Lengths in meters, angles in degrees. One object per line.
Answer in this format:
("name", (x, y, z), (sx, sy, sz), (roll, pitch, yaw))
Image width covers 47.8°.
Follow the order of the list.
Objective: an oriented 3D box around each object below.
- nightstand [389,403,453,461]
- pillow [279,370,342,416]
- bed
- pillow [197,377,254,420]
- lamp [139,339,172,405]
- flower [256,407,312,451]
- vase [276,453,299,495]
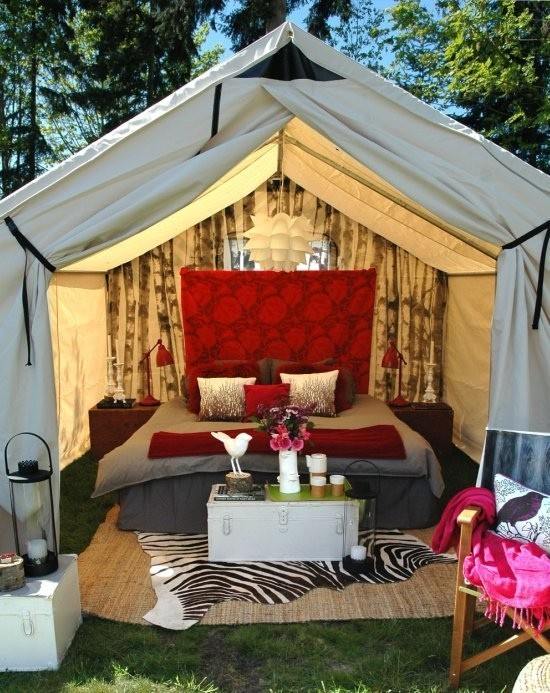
("nightstand", (1.256, 0.673, 5.467), (0.594, 0.410, 0.551), (4, 11, 17))
("pillow", (0.285, 0.345, 4.664), (0.442, 0.280, 0.231), (5, 8, 2))
("bed", (0.019, 0.235, 4.645), (2.060, 1.423, 2.458), (1, 13, 5))
("pillow", (-0.364, 0.390, 4.587), (0.348, 0.301, 0.101), (3, -26, -2))
("lamp", (-1.055, 0.218, 5.415), (0.200, 0.556, 0.392), (5, 10, 36))
("flower", (0.046, 0.445, 3.343), (0.259, 0.233, 0.206), (-1, 7, -3))
("vase", (0.081, 0.666, 3.336), (0.113, 0.231, 0.160), (-1, 7, 0))
